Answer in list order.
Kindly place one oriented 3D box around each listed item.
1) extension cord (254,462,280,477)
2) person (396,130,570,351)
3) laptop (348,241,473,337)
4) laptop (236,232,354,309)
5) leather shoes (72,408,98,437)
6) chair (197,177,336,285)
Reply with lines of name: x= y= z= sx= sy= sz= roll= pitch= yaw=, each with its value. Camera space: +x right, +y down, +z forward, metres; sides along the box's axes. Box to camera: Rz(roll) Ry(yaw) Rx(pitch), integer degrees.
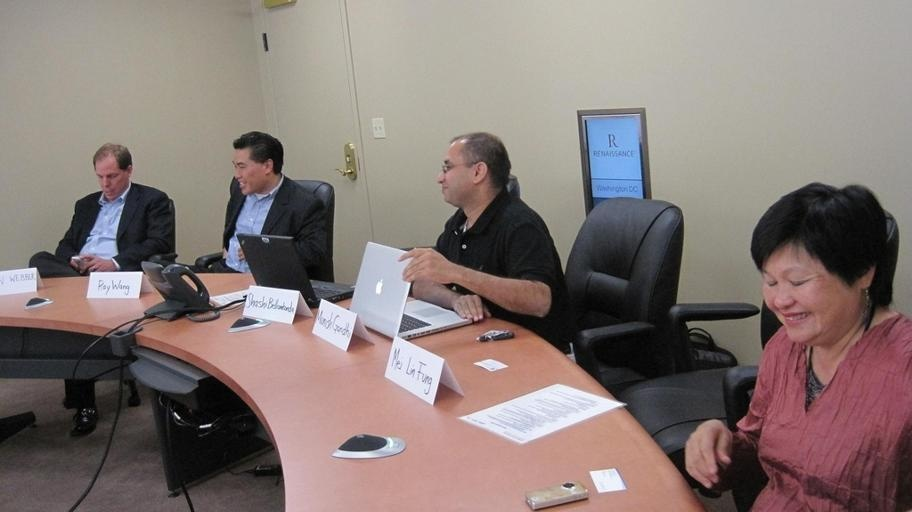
extension cord: x=-1.035 y=1.200 z=3.120 sx=0.150 sy=0.050 sz=0.088 roll=1 pitch=9 yaw=2
person: x=0.196 y=-0.099 z=3.413 sx=1.056 sy=1.697 sz=1.069 roll=-1 pitch=2 yaw=-9
laptop: x=-0.190 y=0.140 z=2.563 sx=0.463 sy=0.364 sz=0.511 roll=-4 pitch=10 yaw=-33
laptop: x=-0.783 y=0.035 z=2.849 sx=0.469 sy=0.278 sz=0.443 roll=10 pitch=12 yaw=41
leather shoes: x=-2.370 y=1.075 z=3.602 sx=0.200 sy=0.180 sz=0.120 roll=-1 pitch=-2 yaw=25
chair: x=-1.266 y=-0.227 z=4.184 sx=0.758 sy=1.069 sz=0.904 roll=4 pitch=7 yaw=20
